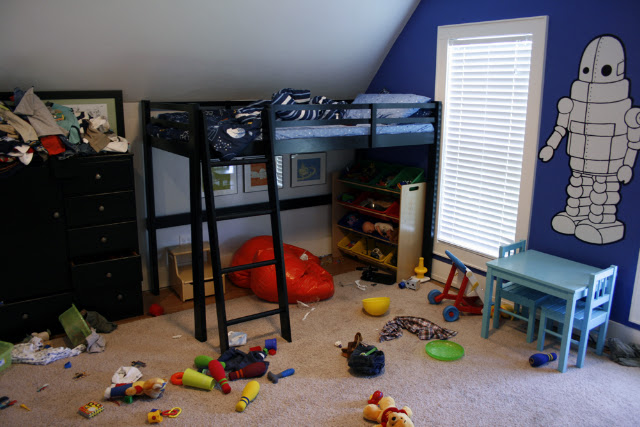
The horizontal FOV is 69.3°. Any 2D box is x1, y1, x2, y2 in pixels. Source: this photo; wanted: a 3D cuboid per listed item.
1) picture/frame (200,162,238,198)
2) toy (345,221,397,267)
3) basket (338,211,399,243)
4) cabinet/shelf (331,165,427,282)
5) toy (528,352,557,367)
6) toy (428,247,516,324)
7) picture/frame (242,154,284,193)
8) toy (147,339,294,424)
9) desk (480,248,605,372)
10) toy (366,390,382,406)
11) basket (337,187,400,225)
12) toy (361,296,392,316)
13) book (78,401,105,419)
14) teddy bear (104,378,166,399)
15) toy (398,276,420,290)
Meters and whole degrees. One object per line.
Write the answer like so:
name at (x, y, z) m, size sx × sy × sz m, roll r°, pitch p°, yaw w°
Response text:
picture/frame at (-1.223, -0.398, 5.537) m, size 0.412 × 0.404 × 0.418 m, roll -3°, pitch 6°, yaw -31°
toy at (0.678, 0.363, 5.951) m, size 0.481 × 0.369 × 0.873 m, roll -15°, pitch 21°, yaw -35°
basket at (0.618, 0.169, 5.937) m, size 0.553 × 0.107 × 0.336 m, roll 19°, pitch 22°, yaw 34°
cabinet/shelf at (0.785, 0.127, 5.810) m, size 0.428 × 1.267 × 1.274 m, roll -3°, pitch 12°, yaw -31°
toy at (2.008, 1.313, 4.212) m, size 0.243 × 0.109 × 0.109 m, roll -8°, pitch 33°, yaw -24°
toy at (1.581, 0.718, 5.112) m, size 0.840 × 0.725 × 0.604 m, roll -6°, pitch 14°, yaw -20°
picture/frame at (-0.658, -0.439, 5.112) m, size 0.531 × 0.493 × 0.040 m, roll -3°, pitch 14°, yaw -31°
toy at (-0.850, 1.429, 4.006) m, size 0.785 × 0.137 × 0.522 m, roll -7°, pitch 23°, yaw -24°
desk at (1.997, 0.800, 4.445) m, size 1.009 × 0.915 × 1.000 m, roll -7°, pitch 16°, yaw -38°
toy at (0.437, 1.489, 3.741) m, size 0.117 × 0.046 × 0.100 m, roll -39°, pitch 11°, yaw -22°
basket at (0.658, -0.112, 5.940) m, size 0.398 × 0.135 × 0.685 m, roll -14°, pitch 19°, yaw -41°
toy at (0.592, 0.974, 4.891) m, size 0.227 × 0.129 × 0.219 m, roll -8°, pitch 0°, yaw 16°
book at (-1.820, 1.565, 3.690) m, size 0.150 × 0.054 × 0.146 m, roll 7°, pitch 20°, yaw 22°
teddy bear at (-1.522, 1.437, 3.784) m, size 0.409 × 0.147 × 0.220 m, roll -1°, pitch -2°, yaw -14°
toy at (1.054, 0.829, 5.477) m, size 0.192 × 0.090 × 0.135 m, roll 1°, pitch 4°, yaw 8°
